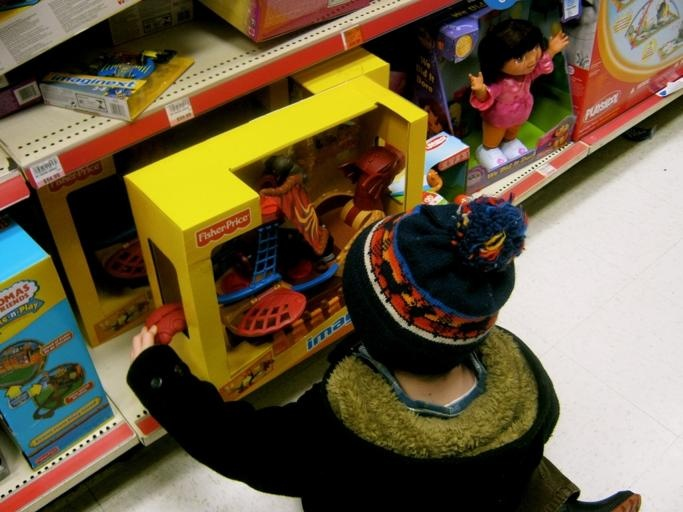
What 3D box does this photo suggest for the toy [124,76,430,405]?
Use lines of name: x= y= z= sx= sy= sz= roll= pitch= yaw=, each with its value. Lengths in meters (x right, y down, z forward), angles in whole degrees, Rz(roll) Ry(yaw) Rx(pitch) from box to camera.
toy: x=-0.165 y=-0.053 z=1.320 sx=0.784 sy=0.681 sz=0.280 roll=-32 pitch=58 yaw=-26

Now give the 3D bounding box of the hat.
hat: x=0.137 y=0.042 z=0.893 sx=0.280 sy=0.283 sz=0.182 roll=5 pitch=50 yaw=6
